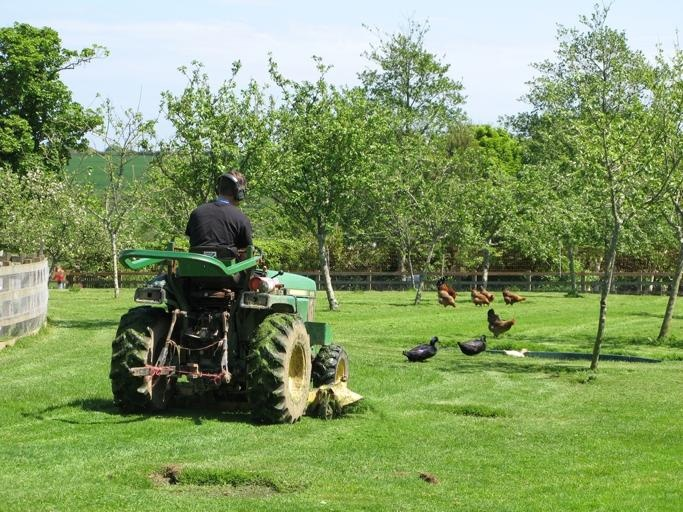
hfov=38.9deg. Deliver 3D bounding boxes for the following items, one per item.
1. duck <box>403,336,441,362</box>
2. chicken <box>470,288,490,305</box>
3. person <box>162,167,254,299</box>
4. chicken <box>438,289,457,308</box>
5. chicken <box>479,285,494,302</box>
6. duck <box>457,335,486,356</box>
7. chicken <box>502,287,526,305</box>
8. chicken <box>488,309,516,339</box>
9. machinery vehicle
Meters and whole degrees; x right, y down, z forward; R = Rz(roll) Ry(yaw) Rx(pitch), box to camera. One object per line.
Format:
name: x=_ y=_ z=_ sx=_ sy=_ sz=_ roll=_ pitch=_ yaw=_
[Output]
duck: x=1.796 y=2.146 z=21.915 sx=0.777 sy=0.565 sz=0.444 roll=-1 pitch=0 yaw=-9
chicken: x=5.500 y=1.702 z=38.236 sx=0.768 sy=0.630 sz=0.891 roll=2 pitch=-1 yaw=6
person: x=-2.001 y=-0.372 z=15.663 sx=1.061 sy=1.805 sz=0.633 roll=2 pitch=0 yaw=-8
chicken: x=4.133 y=1.637 z=37.486 sx=0.347 sy=0.623 sz=1.064 roll=-9 pitch=30 yaw=-27
chicken: x=6.270 y=1.654 z=42.038 sx=0.535 sy=0.281 sz=0.786 roll=6 pitch=8 yaw=-12
duck: x=3.120 y=2.151 z=22.936 sx=0.466 sy=0.457 sz=1.066 roll=2 pitch=-1 yaw=22
chicken: x=6.921 y=1.681 z=39.120 sx=0.581 sy=0.756 sz=1.371 roll=-3 pitch=-4 yaw=11
chicken: x=4.393 y=1.914 z=26.973 sx=0.607 sy=0.766 sz=1.526 roll=2 pitch=-1 yaw=6
machinery vehicle: x=-2.229 y=1.130 z=16.522 sx=2.858 sy=2.679 sz=5.275 roll=6 pitch=7 yaw=3
